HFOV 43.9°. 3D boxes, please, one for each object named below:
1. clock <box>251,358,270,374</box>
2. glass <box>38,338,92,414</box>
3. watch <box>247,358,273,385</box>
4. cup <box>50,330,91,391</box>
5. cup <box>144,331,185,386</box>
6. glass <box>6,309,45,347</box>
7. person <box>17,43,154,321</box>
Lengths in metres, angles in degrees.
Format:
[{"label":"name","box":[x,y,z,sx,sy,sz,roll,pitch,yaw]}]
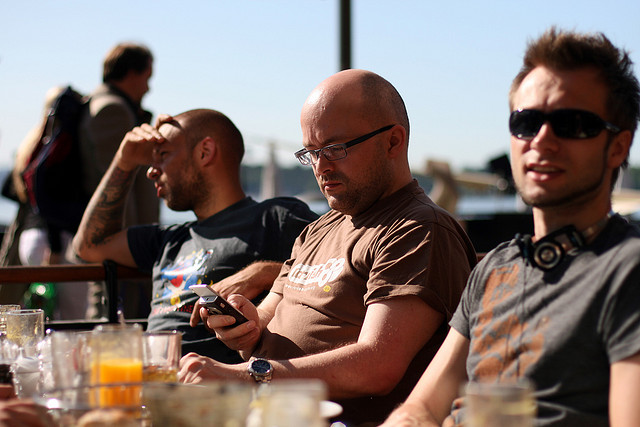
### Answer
[{"label":"clock","box":[-0.273,0.707,3.677,0.094,0.058,0.062,-4,-4,30]},{"label":"glass","box":[-0.959,0.619,3.000,0.141,0.295,0.151,-6,8,-41]},{"label":"watch","box":[-0.276,0.714,3.686,0.082,0.117,0.114,-20,-41,-17]},{"label":"cup","box":[-0.948,0.553,2.976,0.264,0.210,0.131,-5,-4,38]},{"label":"cup","box":[-0.628,0.589,3.220,0.187,0.219,0.188,-2,-9,0]},{"label":"glass","box":[-1.385,0.540,3.738,0.161,0.163,0.182,-3,-4,7]},{"label":"person","box":[-1.795,-0.424,6.095,0.779,2.771,0.940,4,7,40]}]
